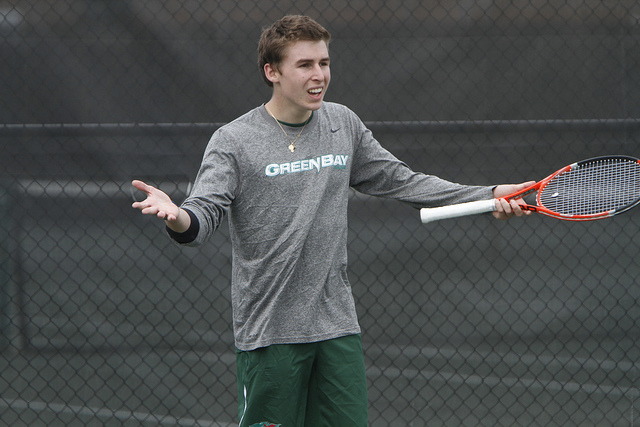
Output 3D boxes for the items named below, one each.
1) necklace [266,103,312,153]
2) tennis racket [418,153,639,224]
[{"bbox_3d":[-0.223,-0.591,6.951,0.296,0.321,0.008,3,-7,-17],"label":"necklace"},{"bbox_3d":[1.494,-0.219,7.273,1.501,0.659,0.118,-11,38,-12],"label":"tennis racket"}]
